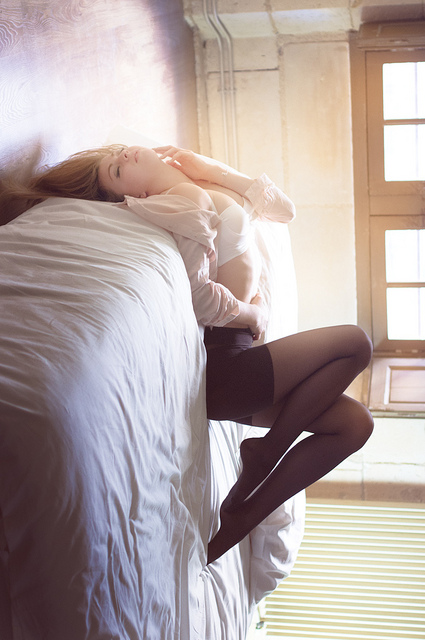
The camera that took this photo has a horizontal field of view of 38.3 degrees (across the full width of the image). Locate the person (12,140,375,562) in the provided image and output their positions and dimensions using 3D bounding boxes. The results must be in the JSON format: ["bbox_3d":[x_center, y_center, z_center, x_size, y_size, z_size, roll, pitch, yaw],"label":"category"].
[{"bbox_3d":[0.029,0.025,1.609,0.627,1.128,0.428,-23,4,6],"label":"person"}]

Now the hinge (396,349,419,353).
[{"bbox_3d":[1.201,0.189,3.782,0.108,0.025,0.019,0,40,13],"label":"hinge"}]

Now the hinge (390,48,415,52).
[{"bbox_3d":[1.035,-1.465,3.325,0.088,0.011,0.020,1,-4,18],"label":"hinge"}]
